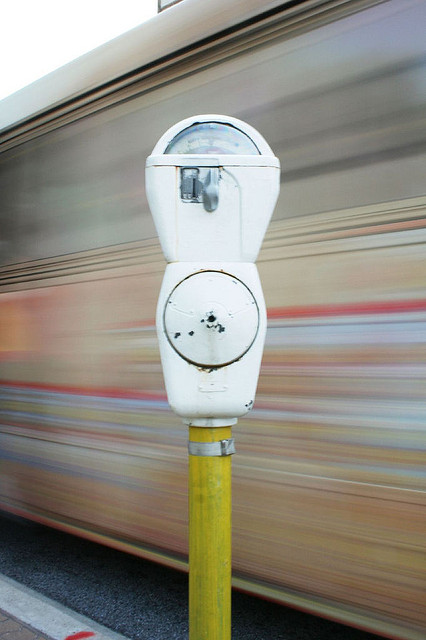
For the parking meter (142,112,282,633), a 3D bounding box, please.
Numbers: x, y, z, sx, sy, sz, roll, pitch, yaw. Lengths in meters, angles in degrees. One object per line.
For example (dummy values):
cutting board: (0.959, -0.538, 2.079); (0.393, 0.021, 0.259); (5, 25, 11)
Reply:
parking meter: (0.009, 0.143, 1.316); (0.328, 1.333, 0.198); (-1, -5, 7)
